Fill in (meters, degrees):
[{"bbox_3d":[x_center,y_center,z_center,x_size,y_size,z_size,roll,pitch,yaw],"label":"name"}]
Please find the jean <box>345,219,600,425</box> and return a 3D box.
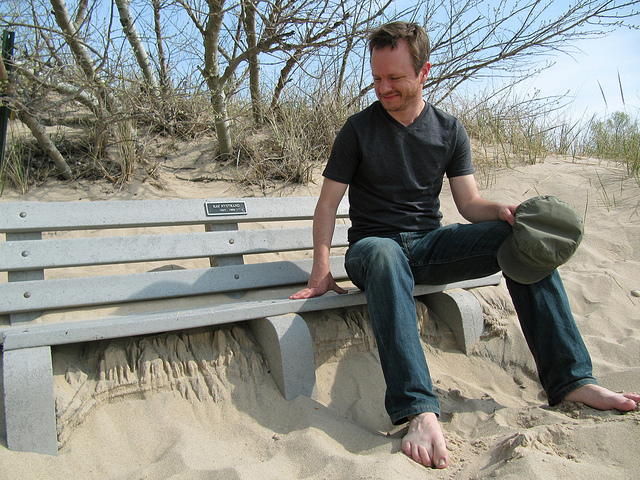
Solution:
[{"bbox_3d":[0.638,0.200,2.294,0.926,0.515,1.196,-6,27,-12],"label":"jean"}]
